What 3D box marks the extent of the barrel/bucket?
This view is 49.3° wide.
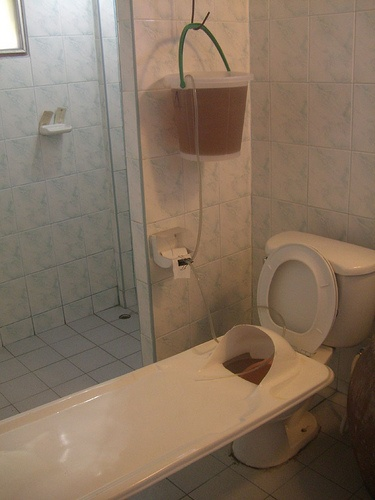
[{"bbox_3d":[0.064,-0.513,1.290,0.246,0.432,0.262,-1,13,0],"label":"barrel/bucket"}]

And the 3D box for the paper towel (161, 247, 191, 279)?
[{"bbox_3d":[-0.038,0.048,1.461,0.106,0.097,0.073,-12,17,-40],"label":"paper towel"}]
